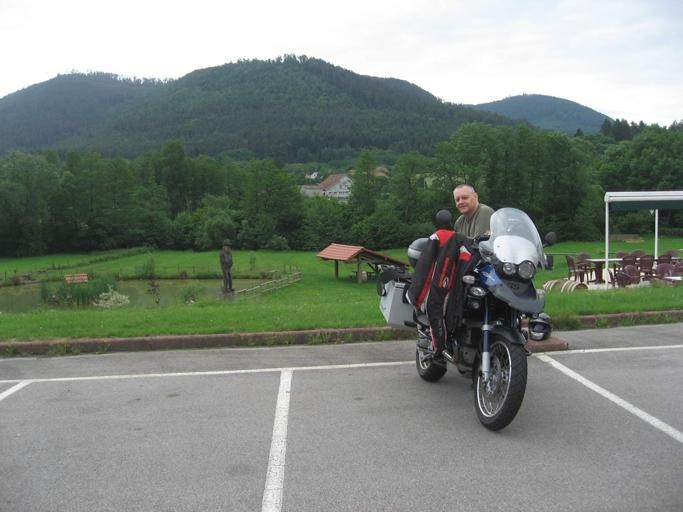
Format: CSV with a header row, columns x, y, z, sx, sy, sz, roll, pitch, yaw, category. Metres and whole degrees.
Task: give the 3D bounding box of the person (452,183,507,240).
x,y,z,sx,sy,sz,roll,pitch,yaw,category
1.907,-0.583,8.892,0.555,0.884,1.008,-5,3,-15,person
